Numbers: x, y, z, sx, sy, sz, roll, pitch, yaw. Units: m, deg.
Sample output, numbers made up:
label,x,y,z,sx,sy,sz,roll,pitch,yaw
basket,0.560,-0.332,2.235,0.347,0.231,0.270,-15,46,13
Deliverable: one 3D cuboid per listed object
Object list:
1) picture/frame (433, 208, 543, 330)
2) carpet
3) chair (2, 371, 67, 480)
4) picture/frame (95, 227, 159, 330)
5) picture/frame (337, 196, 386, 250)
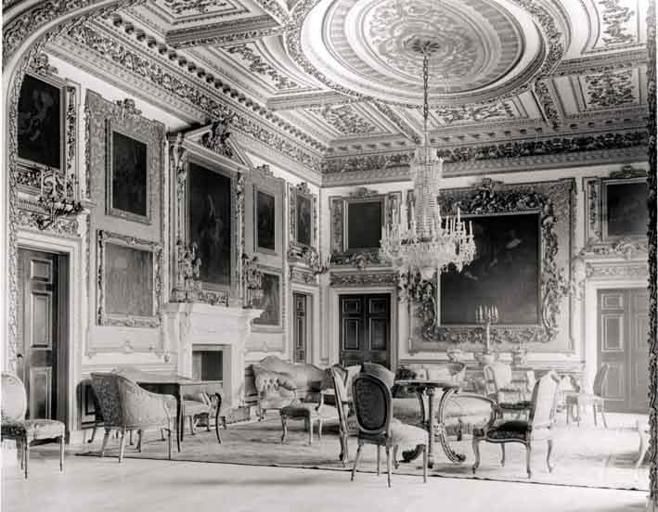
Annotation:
label,x,y,z,sx,sy,sz,roll,pitch,yaw
picture/frame,3.462,0.303,15.993,2.125,2.923,0.176,-3,-9,22
carpet,1.274,2.765,11.114,6.618,0.233,4.269,-1,-2,15
chair,-3.677,2.008,9.460,0.708,1.241,1.487,0,-1,-20
picture/frame,-3.215,0.368,11.884,0.101,1.505,1.350,-4,-9,25
picture/frame,0.797,-0.741,17.608,1.144,1.580,0.108,-3,-9,18
